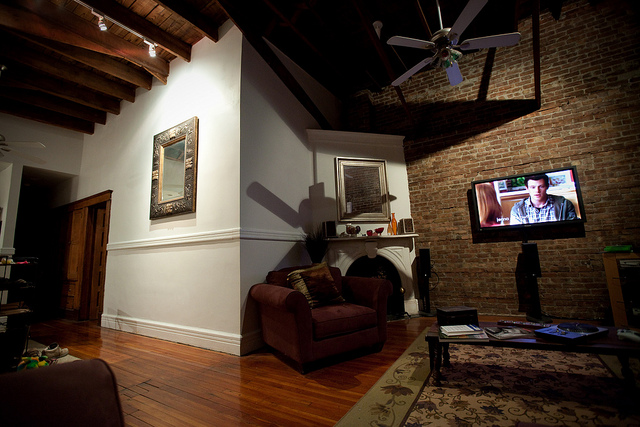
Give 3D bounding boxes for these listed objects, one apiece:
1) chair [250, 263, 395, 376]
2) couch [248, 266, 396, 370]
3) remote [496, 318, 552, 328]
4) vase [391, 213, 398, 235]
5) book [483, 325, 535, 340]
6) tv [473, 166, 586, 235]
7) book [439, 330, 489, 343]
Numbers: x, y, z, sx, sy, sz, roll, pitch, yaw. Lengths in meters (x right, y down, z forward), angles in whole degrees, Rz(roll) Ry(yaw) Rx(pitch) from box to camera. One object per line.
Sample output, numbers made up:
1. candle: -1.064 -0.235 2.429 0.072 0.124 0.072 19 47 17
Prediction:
1. chair: 0.005 1.410 5.608 1.761 1.340 0.895 -2 -4 -19
2. couch: 0.050 1.398 5.758 1.772 1.222 1.175 -1 -3 -32
3. remote: 2.849 1.511 5.488 0.432 0.059 0.138 -1 3 39
4. vase: 1.373 0.194 7.363 0.113 0.382 0.279 -4 -4 12
5. book: 2.286 1.439 4.833 0.550 0.079 0.371 -3 -3 2
6. tv: 3.615 -0.204 6.730 1.216 0.783 0.088 -4 -2 23
7. book: 1.700 1.459 4.709 0.555 0.101 0.138 -3 -3 10
